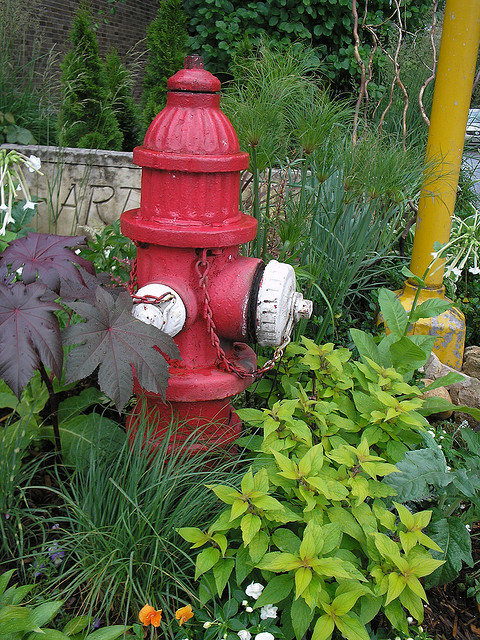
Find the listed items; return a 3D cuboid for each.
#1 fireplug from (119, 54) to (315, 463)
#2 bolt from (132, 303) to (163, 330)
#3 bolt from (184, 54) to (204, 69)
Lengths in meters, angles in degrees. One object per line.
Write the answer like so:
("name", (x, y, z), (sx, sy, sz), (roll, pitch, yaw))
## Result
("fireplug", (-0.061, -0.100, 1.573), (0.529, 1.163, 0.544), (2, 23, -12))
("bolt", (-0.237, -0.011, 1.467), (0.079, 0.060, 0.026), (9, 22, 6))
("bolt", (-0.119, -0.687, 1.511), (0.044, 0.033, 0.045), (1, 22, -14))
